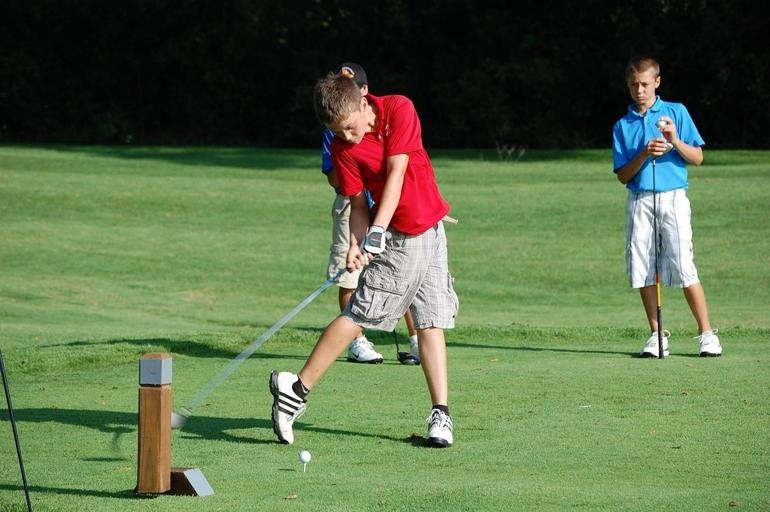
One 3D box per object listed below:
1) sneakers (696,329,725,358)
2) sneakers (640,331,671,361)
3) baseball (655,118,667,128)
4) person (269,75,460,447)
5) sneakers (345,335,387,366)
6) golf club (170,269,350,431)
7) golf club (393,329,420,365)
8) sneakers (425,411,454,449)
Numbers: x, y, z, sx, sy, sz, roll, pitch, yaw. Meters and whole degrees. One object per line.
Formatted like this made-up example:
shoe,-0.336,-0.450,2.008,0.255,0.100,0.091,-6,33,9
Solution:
sneakers,2.992,0.789,11.742,0.221,0.249,0.409,3,15,14
sneakers,2.485,0.801,11.735,0.259,0.249,0.308,2,15,13
baseball,2.509,-1.219,11.580,0.087,0.089,0.070,2,15,11
person,-0.107,-0.016,9.997,1.312,2.767,0.820,-1,15,2
sneakers,-0.187,0.885,11.867,0.394,0.209,0.179,2,2,-4
golf club,-1.215,0.898,11.883,1.872,0.270,0.208,-35,-24,-15
golf club,0.226,0.920,11.970,0.151,0.292,0.430,1,-4,-11
sneakers,0.422,1.320,9.926,0.213,0.264,0.261,-1,15,2
